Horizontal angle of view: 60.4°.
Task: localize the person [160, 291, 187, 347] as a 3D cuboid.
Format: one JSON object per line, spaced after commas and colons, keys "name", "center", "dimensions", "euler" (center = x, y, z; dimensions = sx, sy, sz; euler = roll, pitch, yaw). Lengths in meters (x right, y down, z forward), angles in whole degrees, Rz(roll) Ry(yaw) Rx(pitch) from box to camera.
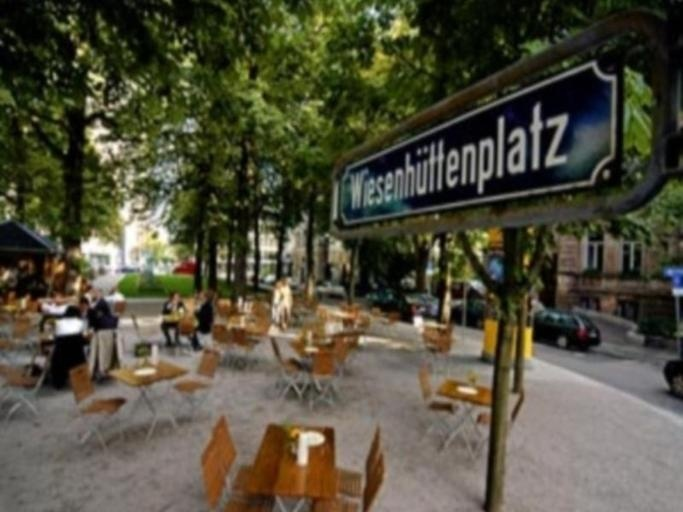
{"name": "person", "center": [-5.220, 1.999, 18.058], "dimensions": [0.801, 2.326, 1.166], "euler": [3, -24, -24]}
